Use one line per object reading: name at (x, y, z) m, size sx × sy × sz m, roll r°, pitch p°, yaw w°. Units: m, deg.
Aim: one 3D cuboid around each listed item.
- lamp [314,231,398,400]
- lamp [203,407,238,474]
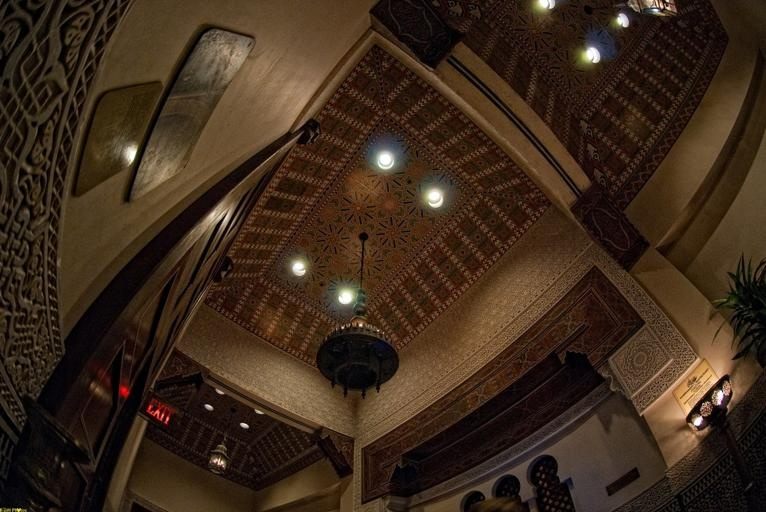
lamp at (-0.326, 0.654, 6.723) m, size 0.898 × 2.484 × 0.980 m, roll 21°, pitch -56°, yaw -14°
lamp at (-2.258, 2.488, 7.475) m, size 0.287 × 0.924 × 0.357 m, roll 22°, pitch -63°, yaw -19°
